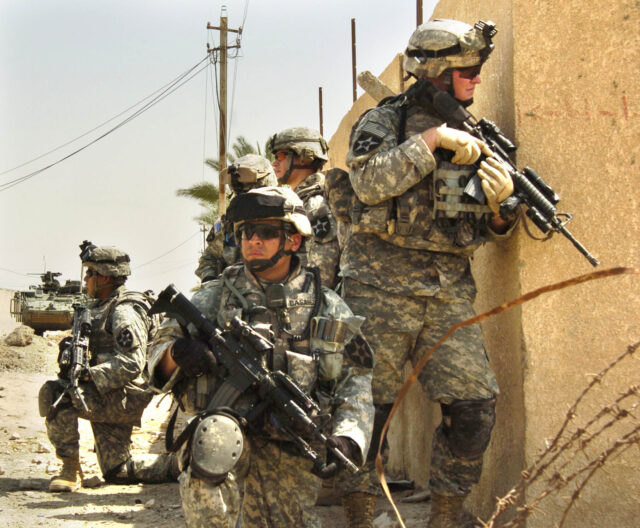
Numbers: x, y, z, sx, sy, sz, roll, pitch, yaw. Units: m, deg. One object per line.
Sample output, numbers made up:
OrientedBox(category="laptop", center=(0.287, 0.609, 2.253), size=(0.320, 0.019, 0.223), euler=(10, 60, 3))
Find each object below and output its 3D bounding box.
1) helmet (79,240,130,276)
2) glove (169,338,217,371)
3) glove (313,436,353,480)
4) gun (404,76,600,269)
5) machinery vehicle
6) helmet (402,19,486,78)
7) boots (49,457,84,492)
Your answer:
OrientedBox(category="helmet", center=(-1.857, -0.058, 8.839), size=(0.419, 0.336, 0.382), euler=(-2, -2, -3))
OrientedBox(category="glove", center=(-0.670, 0.459, 5.341), size=(0.207, 0.153, 0.185), euler=(36, -5, -12))
OrientedBox(category="glove", center=(0.053, 0.987, 5.152), size=(0.175, 0.219, 0.343), euler=(5, -9, -40))
OrientedBox(category="gun", center=(1.082, -0.545, 5.983), size=(0.492, 1.257, 0.194), euler=(-39, -17, -5))
OrientedBox(category="machinery vehicle", center=(-6.597, 0.848, 25.301), size=(1.948, 1.376, 2.619), euler=(1, 8, -20))
OrientedBox(category="helmet", center=(0.767, -1.333, 6.132), size=(0.544, 0.351, 0.429), euler=(13, 27, 31))
OrientedBox(category="boots", center=(-1.992, 1.667, 8.020), size=(0.298, 0.263, 0.199), euler=(4, -8, -32))
